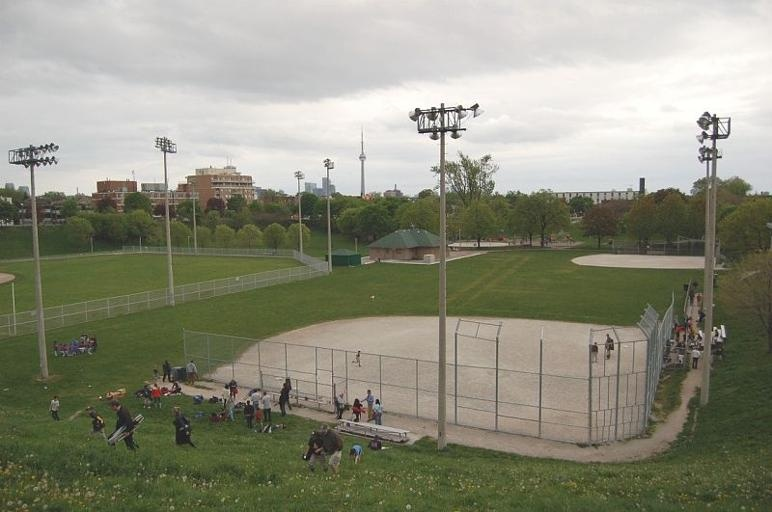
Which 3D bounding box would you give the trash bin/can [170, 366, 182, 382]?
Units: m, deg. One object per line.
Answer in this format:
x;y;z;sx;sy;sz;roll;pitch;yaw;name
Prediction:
-17.139;9.675;73.624;0.960;0.922;0.972;-7;-9;43;trash bin/can
